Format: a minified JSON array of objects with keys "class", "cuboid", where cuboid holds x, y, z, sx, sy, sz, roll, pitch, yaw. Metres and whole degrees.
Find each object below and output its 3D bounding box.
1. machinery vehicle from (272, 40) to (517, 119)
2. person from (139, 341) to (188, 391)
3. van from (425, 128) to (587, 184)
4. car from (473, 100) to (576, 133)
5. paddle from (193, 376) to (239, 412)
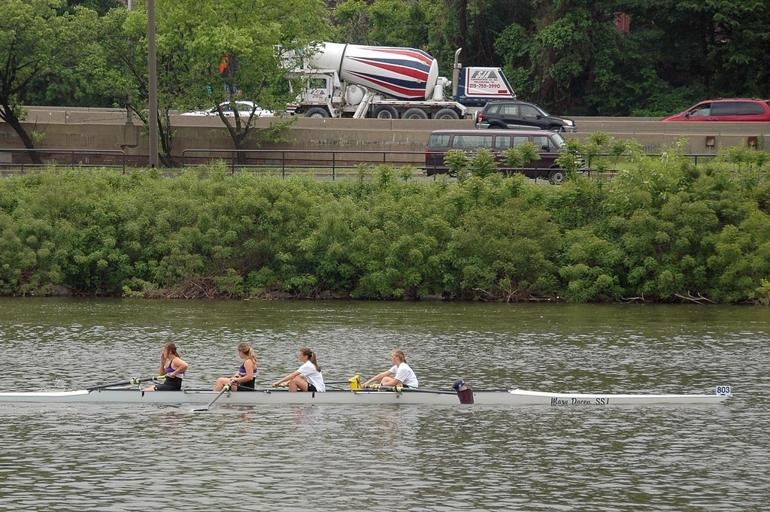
[{"class":"machinery vehicle","cuboid":[1.065,-10.103,104.456,13.614,4.885,3.874,2,4,11]},{"class":"person","cuboid":[-8.618,4.474,68.526,1.501,1.946,0.856,-3,17,-6]},{"class":"van","cuboid":[5.790,-5.055,87.781,7.262,2.274,3.060,5,18,18]},{"class":"car","cuboid":[7.700,-7.730,97.232,4.927,1.565,1.403,1,17,5]},{"class":"paddle","cuboid":[-6.555,5.694,68.188,2.234,0.740,0.330,-44,17,-16]}]
